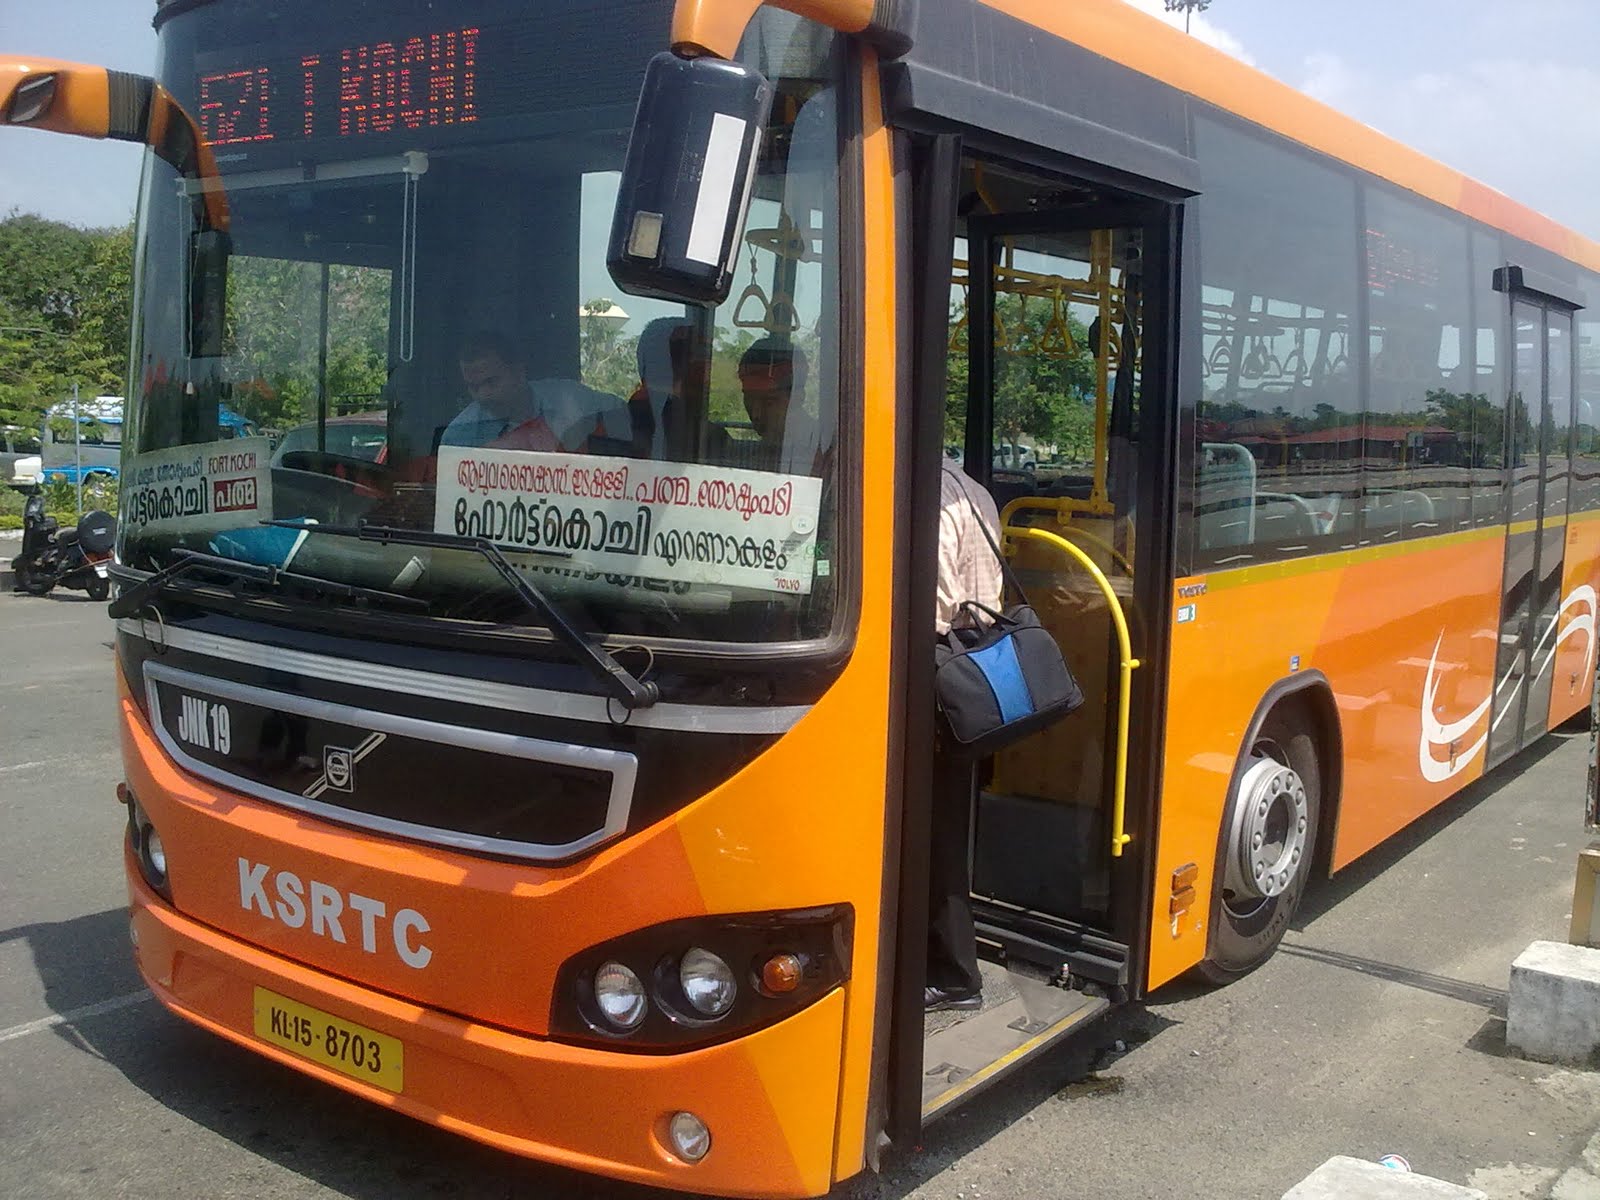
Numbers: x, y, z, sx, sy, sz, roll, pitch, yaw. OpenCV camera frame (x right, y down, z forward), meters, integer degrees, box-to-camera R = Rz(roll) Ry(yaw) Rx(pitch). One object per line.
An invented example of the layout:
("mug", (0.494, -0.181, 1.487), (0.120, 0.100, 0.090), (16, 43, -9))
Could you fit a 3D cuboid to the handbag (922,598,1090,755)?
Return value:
("handbag", (0.692, 0.257, 4.144), (0.444, 0.423, 0.166), (-23, 1, -37))
